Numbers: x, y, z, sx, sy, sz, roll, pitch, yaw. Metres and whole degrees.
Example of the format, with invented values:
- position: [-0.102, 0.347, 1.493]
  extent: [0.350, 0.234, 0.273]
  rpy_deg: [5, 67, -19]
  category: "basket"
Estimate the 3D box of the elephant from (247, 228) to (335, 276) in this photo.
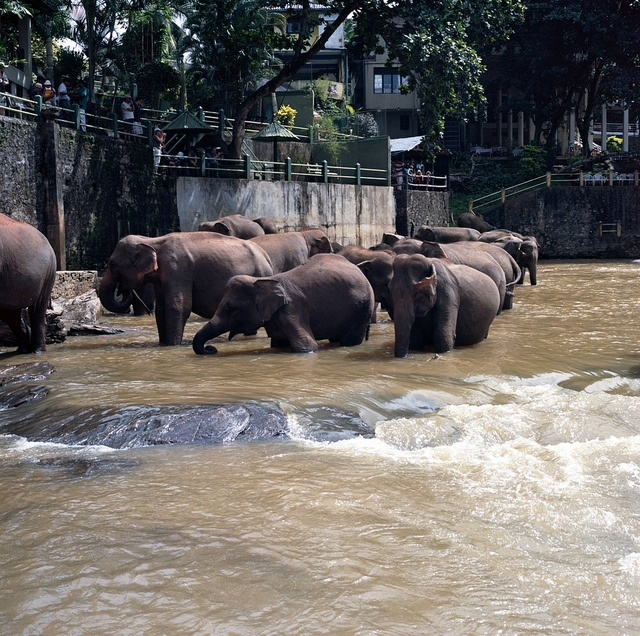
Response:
- position: [-0.398, -0.916, 11.831]
  extent: [0.507, 0.592, 1.191]
  rpy_deg: [7, 16, 34]
  category: "elephant"

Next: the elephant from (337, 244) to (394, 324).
- position: [0.636, -0.573, 10.809]
  extent: [0.541, 0.621, 1.057]
  rpy_deg: [-7, 19, -23]
  category: "elephant"

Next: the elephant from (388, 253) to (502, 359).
- position: [1.220, -0.160, 9.050]
  extent: [0.537, 1.053, 1.761]
  rpy_deg: [8, 13, 33]
  category: "elephant"

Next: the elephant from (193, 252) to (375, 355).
- position: [-0.253, -0.184, 8.851]
  extent: [2.050, 1.151, 0.831]
  rpy_deg: [-4, 7, -23]
  category: "elephant"
